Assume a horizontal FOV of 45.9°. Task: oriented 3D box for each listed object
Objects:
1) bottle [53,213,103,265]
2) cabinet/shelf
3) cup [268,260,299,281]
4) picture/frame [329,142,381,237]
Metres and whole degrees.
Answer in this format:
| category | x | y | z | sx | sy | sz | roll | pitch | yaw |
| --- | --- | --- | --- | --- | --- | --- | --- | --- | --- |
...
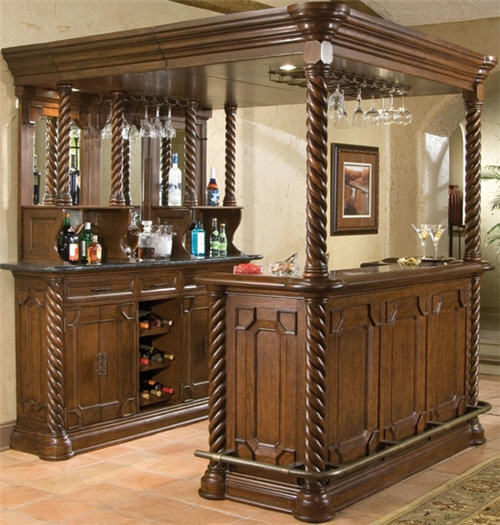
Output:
| category | x | y | z | sx | sy | sz | roll | pitch | yaw |
| --- | --- | --- | --- | --- | --- | --- | --- | --- | --- |
| bottle | -1.251 | -0.163 | 4.242 | 0.187 | 0.429 | 0.444 | 0 | 0 | 32 |
| cabinet/shelf | -0.939 | -0.019 | 4.693 | 0.796 | 2.746 | 1.883 | -1 | 2 | 32 |
| cup | 0.196 | 0.040 | 3.324 | 0.150 | 0.075 | 0.151 | -1 | 2 | 0 |
| picture/frame | 1.447 | -0.993 | 8.147 | 0.258 | 1.258 | 1.181 | 0 | 2 | 34 |
